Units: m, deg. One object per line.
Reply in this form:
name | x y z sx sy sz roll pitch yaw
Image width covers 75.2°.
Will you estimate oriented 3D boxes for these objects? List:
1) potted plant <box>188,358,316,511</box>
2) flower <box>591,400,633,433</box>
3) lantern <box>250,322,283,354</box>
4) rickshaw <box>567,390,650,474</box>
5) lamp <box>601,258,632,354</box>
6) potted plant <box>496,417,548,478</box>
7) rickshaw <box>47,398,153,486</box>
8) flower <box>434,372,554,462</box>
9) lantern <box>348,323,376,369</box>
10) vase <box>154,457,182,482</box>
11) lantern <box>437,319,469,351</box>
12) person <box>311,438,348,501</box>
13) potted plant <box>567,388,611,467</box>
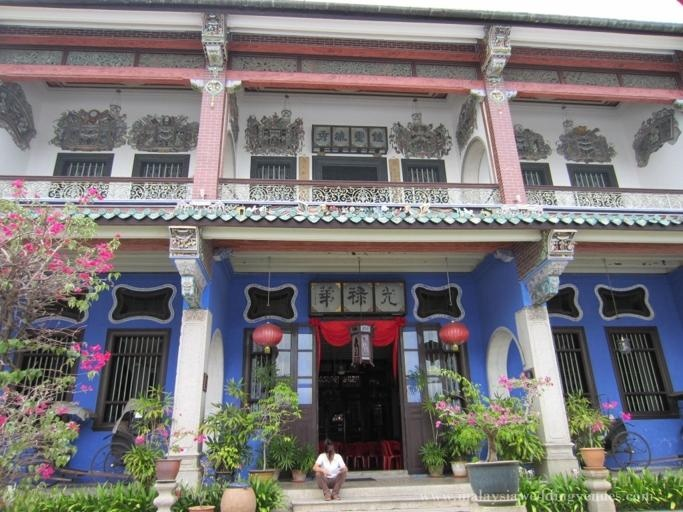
potted plant | -1.831 3.028 8.036 1.907 2.650 2.392 -6 -16 24
flower | 4.802 3.019 8.305 0.544 0.241 0.802 -18 -63 48
lantern | -1.381 1.616 8.520 0.648 0.663 0.638 -14 -19 36
rickshaw | 4.819 3.241 8.109 0.952 1.449 1.425 -11 -12 36
lamp | 5.894 1.086 9.644 0.244 1.937 0.920 -14 -27 30
potted plant | 2.769 3.011 7.078 0.699 0.801 0.929 -21 -30 41
rickshaw | -4.268 3.263 7.879 1.596 1.343 0.756 -4 -23 10
flower | 2.191 2.542 6.833 0.921 0.853 0.988 7 -44 -7
lantern | 0.391 1.671 8.718 0.405 0.818 0.488 0 -23 1
vase | -2.205 2.715 5.770 0.354 0.243 0.333 11 -23 -27
lantern | 2.240 1.494 9.002 0.650 0.646 1.234 -6 -23 14
person | -0.191 3.276 6.875 0.493 0.809 0.500 1 -23 -2
potted plant | 4.264 3.083 7.801 0.731 1.151 0.751 -12 -29 34
